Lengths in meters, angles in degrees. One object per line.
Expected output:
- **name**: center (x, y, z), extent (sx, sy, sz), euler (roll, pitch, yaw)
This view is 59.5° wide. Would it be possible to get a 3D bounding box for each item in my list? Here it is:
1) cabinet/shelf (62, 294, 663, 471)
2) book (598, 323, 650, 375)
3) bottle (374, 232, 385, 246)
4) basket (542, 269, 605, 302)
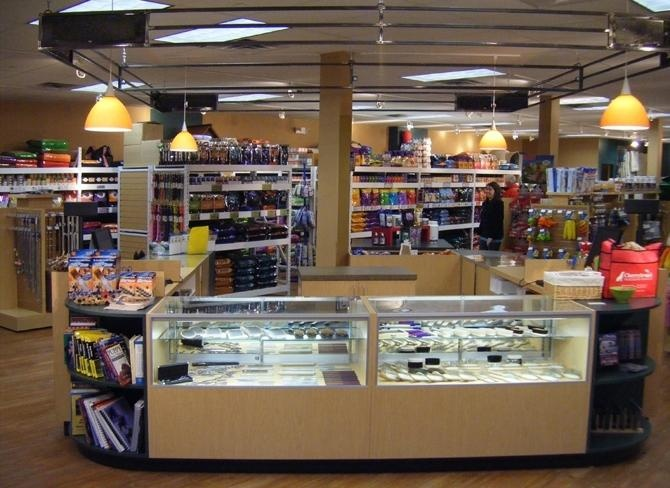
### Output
- **cabinet/shelf**: center (0.382, 1.237, 5.345), extent (4.439, 1.511, 0.450), euler (0, 5, -3)
- **book**: center (2.714, 1.000, 5.618), extent (0.384, 0.167, 0.488), euler (-1, 6, 1)
- **bottle**: center (0.669, -0.106, 9.302), extent (0.216, 0.226, 0.179), euler (0, 0, 0)
- **basket**: center (2.307, 0.397, 5.719), extent (0.433, 0.189, 0.297), euler (0, 6, -3)
